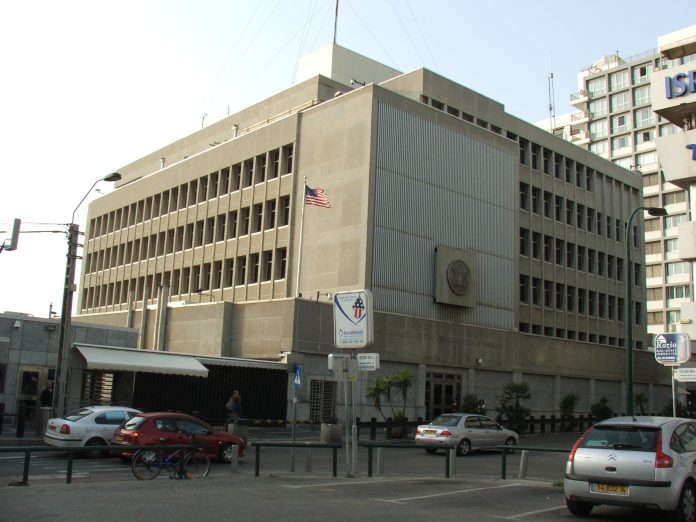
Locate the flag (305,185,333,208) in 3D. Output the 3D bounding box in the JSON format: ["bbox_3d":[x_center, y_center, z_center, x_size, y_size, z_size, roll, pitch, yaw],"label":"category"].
[{"bbox_3d":[-1.745,-4.004,42.496,1.943,2.125,0.293,11,-51,-16],"label":"flag"}]

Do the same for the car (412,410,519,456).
[{"bbox_3d":[4.562,6.893,28.305,5.061,1.565,2.242,3,-9,-34],"label":"car"}]

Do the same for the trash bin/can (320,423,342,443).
[{"bbox_3d":[-0.748,6.181,25.693,0.892,0.846,0.869,0,-11,10],"label":"trash bin/can"}]

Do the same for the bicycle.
[{"bbox_3d":[-4.850,5.451,19.141,0.780,0.898,2.088,-12,-19,43],"label":"bicycle"}]
